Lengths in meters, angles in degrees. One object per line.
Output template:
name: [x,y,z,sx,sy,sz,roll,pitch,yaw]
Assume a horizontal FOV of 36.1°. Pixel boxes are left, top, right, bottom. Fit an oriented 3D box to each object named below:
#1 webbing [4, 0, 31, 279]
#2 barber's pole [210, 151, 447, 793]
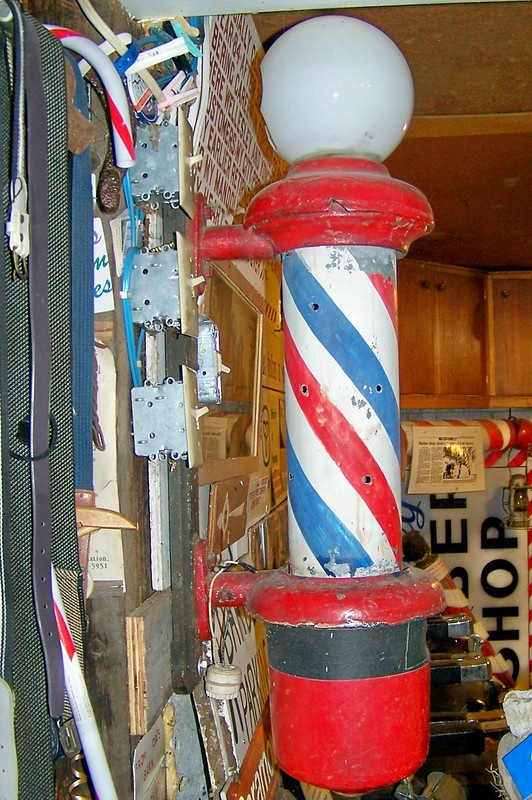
webbing: [-0.179,-0.182,0.577,0.016,0.190,0.032,0,4,-10]
barber's pole: [0.064,0.076,0.844,0.259,0.652,0.233,0,4,-6]
